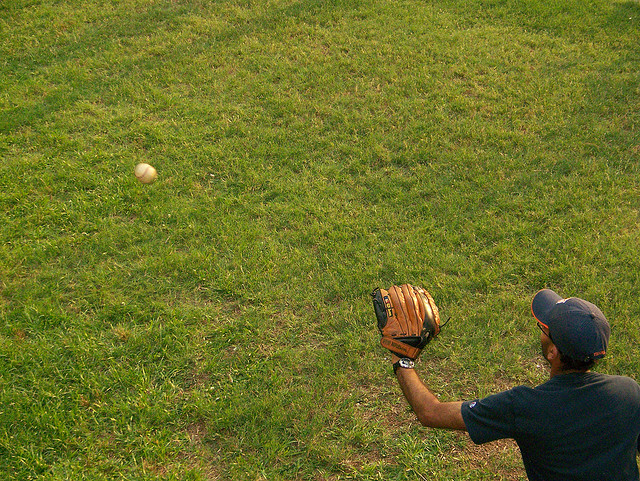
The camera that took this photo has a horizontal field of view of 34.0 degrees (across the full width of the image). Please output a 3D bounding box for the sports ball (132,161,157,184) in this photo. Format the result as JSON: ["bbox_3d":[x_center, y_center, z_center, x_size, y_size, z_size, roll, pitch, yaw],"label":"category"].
[{"bbox_3d":[-3.288,-1.220,19.890,0.388,0.403,0.400,41,-3,3],"label":"sports ball"}]
